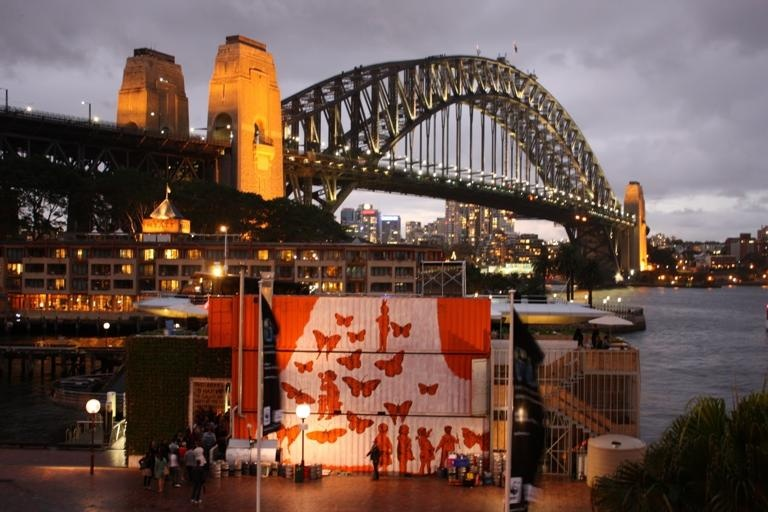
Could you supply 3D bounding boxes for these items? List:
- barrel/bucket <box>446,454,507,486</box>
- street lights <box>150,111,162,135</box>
[{"bbox_3d":[5.846,13.485,69.930,3.419,1.926,0.808,0,-4,-4],"label":"barrel/bucket"},{"bbox_3d":[-32.069,-19.287,157.474,0.913,4.138,0.986,-2,10,19],"label":"street lights"}]
